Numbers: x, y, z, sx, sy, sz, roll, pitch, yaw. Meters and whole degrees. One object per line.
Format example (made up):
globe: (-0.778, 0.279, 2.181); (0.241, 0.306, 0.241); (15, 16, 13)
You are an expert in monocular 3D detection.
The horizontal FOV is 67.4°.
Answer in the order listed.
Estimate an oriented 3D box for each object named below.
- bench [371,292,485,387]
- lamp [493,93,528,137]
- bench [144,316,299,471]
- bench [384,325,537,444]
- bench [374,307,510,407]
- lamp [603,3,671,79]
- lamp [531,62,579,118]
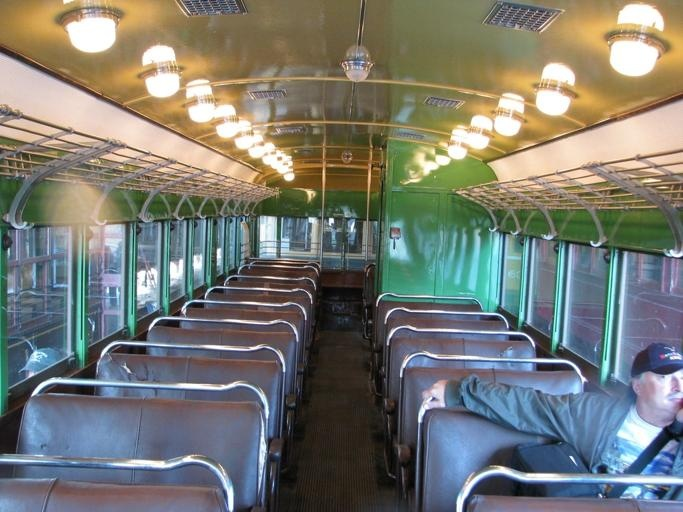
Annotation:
bench: (1.357, 1.600, 8.321); (2.008, 1.551, 1.575); (1, -3, -4)
lamp: (1.909, -1.590, 5.821); (0.332, 0.451, 0.392); (0, 0, 19)
bench: (-1.477, 1.696, 6.081); (1.982, 1.871, 1.394); (0, -3, 4)
bench: (1.196, 1.598, 6.107); (1.475, 0.927, 1.453); (2, -1, -3)
bench: (1.247, 1.547, 7.363); (1.578, 1.093, 1.535); (1, 1, -2)
lamp: (2.115, -1.576, 3.866); (0.441, 0.445, 0.439); (4, 6, 4)
lamp: (2.026, -1.545, 4.787); (0.414, 0.447, 0.320); (-1, 0, -1)
